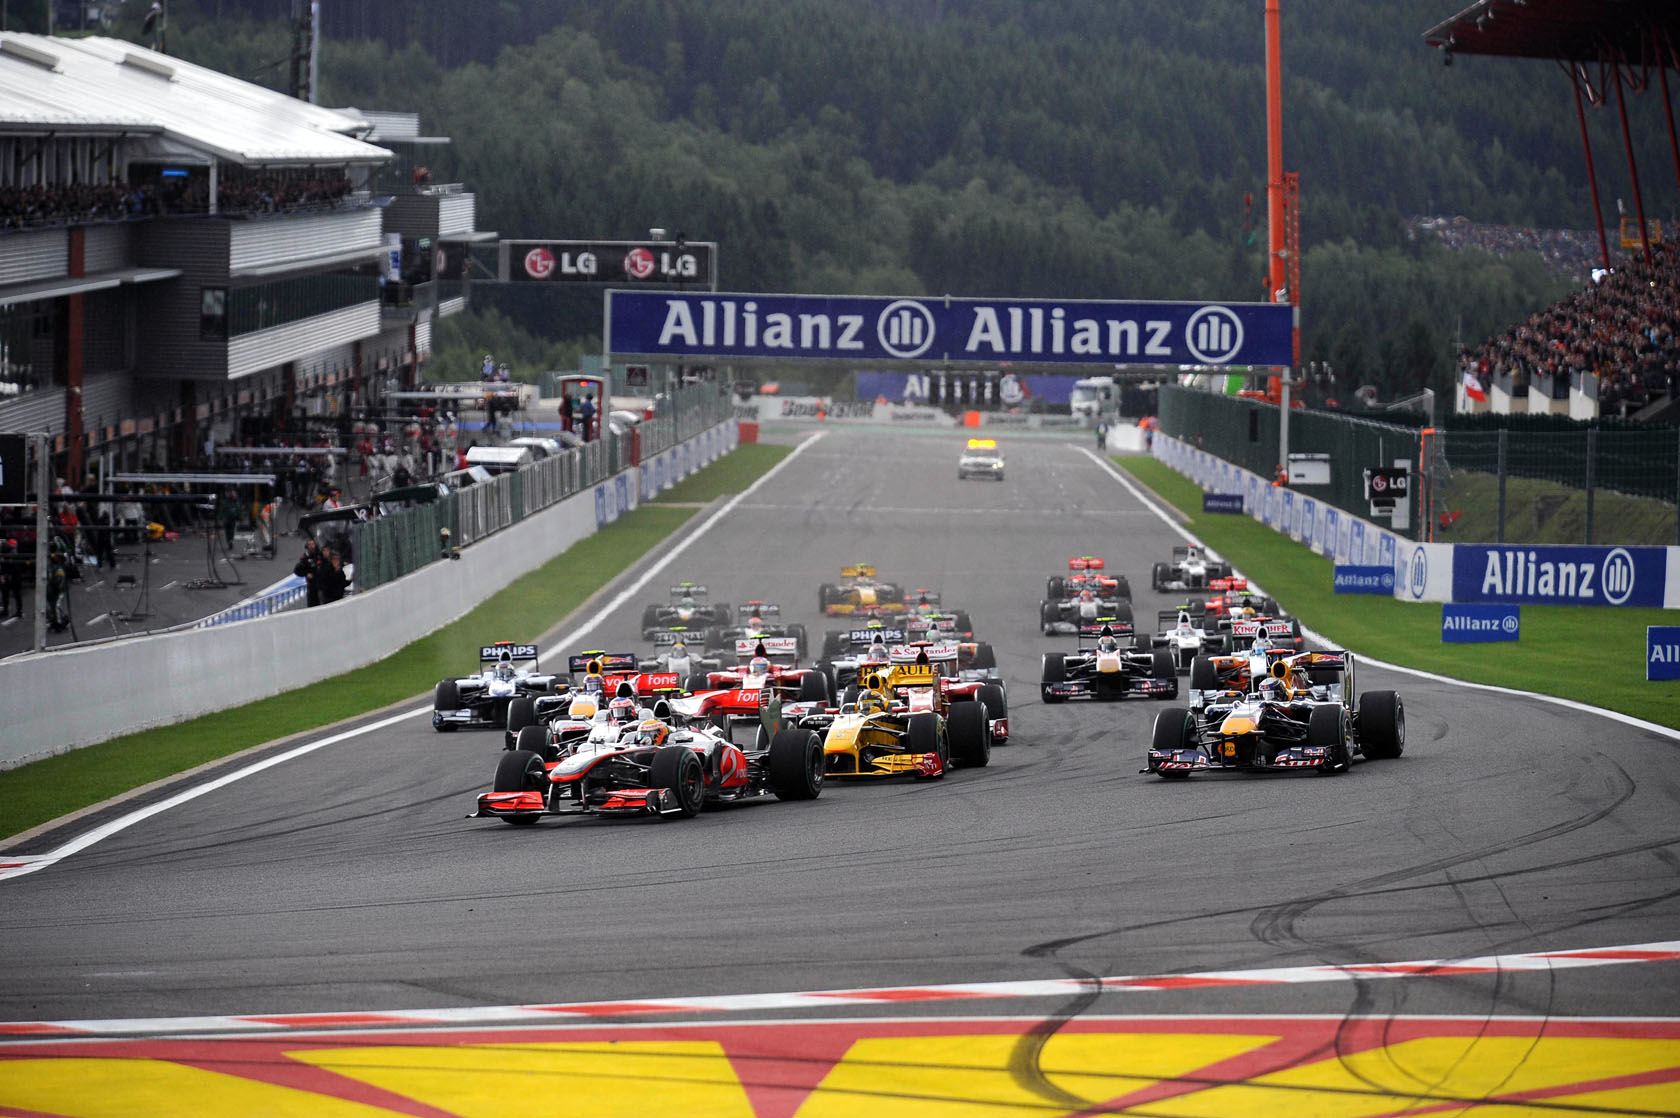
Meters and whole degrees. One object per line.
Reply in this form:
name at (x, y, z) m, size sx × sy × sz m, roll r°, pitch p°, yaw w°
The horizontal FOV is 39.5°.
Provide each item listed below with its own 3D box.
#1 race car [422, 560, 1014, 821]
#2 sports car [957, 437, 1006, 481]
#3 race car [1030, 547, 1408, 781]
race car at (-1.635, 2.565, 34.431) m, size 8.092 × 1.799 × 3.556 m, roll -3°, pitch 7°, yaw -32°
sports car at (5.035, -3.576, 84.286) m, size 1.113 × 1.161 × 2.225 m, roll -1°, pitch -1°, yaw 0°
race car at (6.085, 1.971, 38.071) m, size 6.009 × 1.625 × 9.230 m, roll 2°, pitch 6°, yaw 13°
